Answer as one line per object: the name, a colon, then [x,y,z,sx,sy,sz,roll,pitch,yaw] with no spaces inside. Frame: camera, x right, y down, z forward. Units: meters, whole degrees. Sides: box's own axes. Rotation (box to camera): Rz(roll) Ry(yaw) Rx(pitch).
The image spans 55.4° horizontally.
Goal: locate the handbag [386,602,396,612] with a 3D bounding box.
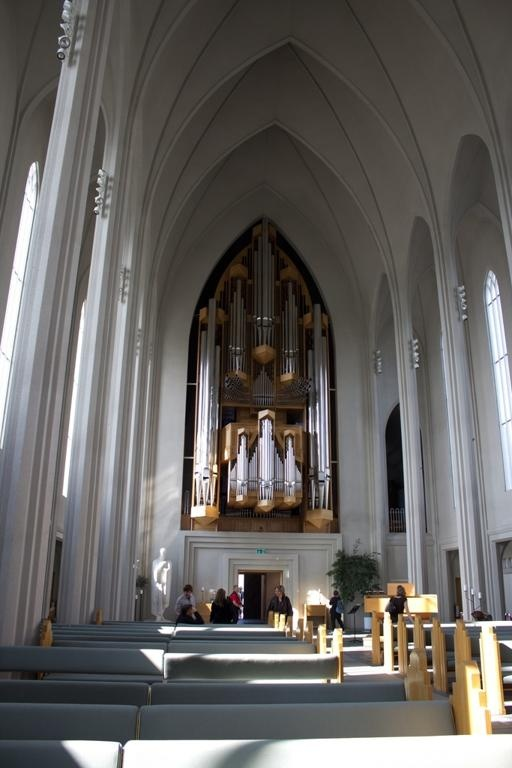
handbag: [2.497,4.100,8.994,0.082,0.225,0.196,12,-29,-9]
